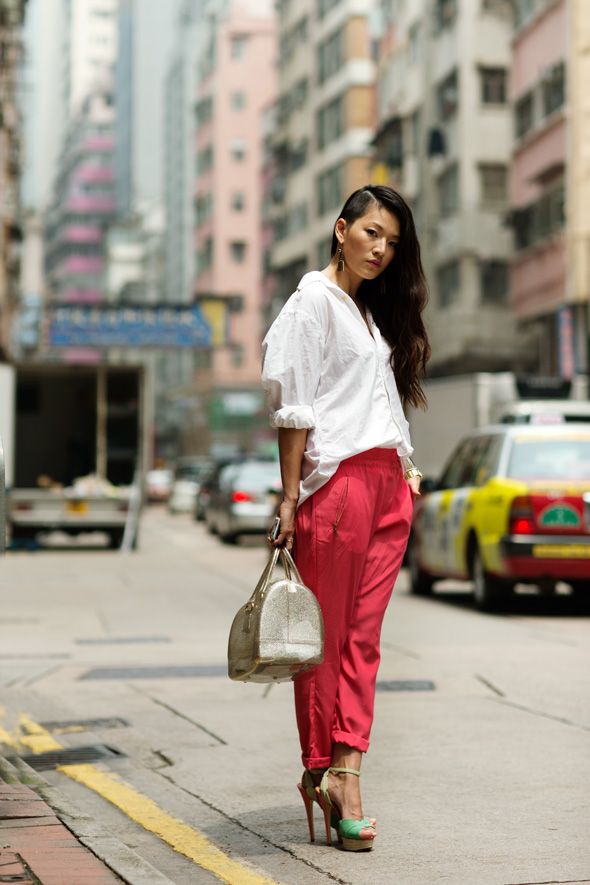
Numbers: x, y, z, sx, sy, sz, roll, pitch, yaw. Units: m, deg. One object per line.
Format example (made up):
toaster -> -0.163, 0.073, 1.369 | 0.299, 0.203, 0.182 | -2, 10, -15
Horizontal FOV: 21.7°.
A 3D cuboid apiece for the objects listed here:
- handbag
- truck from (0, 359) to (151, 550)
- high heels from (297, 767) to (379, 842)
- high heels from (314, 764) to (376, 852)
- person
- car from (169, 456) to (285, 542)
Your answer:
handbag -> -0.048, 0.443, 3.851 | 0.211, 0.349, 0.276 | 0, -1, -15
truck -> -2.690, 0.206, 19.027 | 1.488, 2.211, 4.093 | 0, -1, -13
high heels -> 0.104, 0.936, 3.939 | 0.173, 0.202, 0.104 | 2, 0, 0
high heels -> 0.133, 0.935, 3.978 | 0.155, 0.216, 0.219 | -1, -1, 8
person -> 0.150, 0.176, 4.032 | 0.291, 1.734, 0.531 | -1, -1, 40
car -> -1.083, 0.890, 23.250 | 1.226, 0.968, 2.867 | 1, 3, -5
